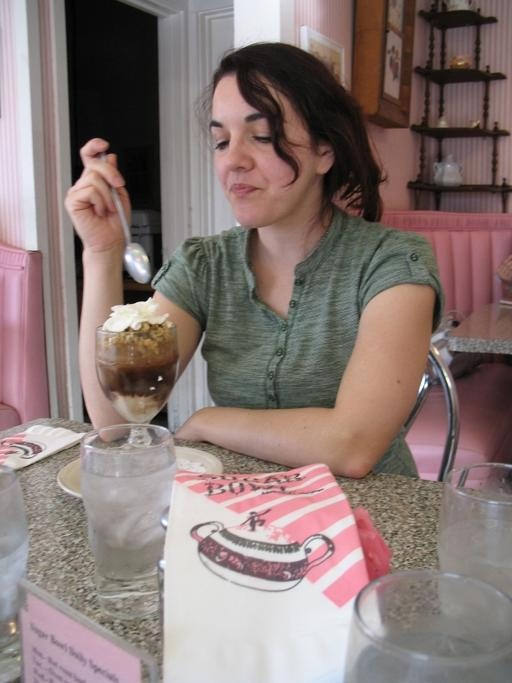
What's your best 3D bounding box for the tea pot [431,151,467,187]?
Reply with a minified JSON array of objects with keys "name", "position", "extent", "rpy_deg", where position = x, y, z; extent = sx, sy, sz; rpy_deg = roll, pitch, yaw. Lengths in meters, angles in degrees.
[{"name":"tea pot","position":[1.286,-1.141,4.113],"extent":[0.294,0.283,0.233],"rpy_deg":[2,4,13]}]
